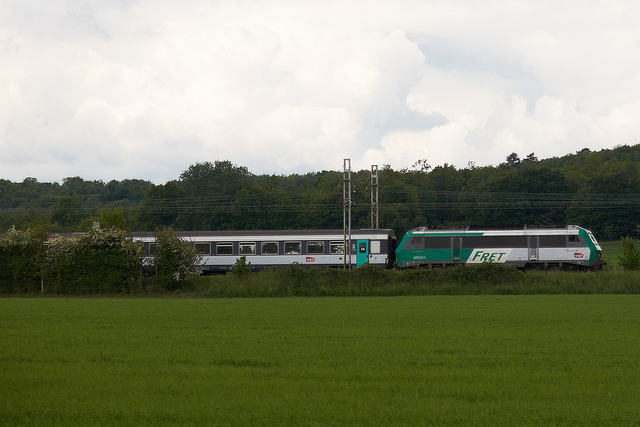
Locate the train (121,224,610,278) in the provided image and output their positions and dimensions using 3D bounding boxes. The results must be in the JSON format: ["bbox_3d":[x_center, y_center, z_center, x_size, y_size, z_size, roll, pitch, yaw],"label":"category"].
[{"bbox_3d":[5.413,2.484,86.179,30.904,3.795,7.314,-1,-8,5],"label":"train"}]
